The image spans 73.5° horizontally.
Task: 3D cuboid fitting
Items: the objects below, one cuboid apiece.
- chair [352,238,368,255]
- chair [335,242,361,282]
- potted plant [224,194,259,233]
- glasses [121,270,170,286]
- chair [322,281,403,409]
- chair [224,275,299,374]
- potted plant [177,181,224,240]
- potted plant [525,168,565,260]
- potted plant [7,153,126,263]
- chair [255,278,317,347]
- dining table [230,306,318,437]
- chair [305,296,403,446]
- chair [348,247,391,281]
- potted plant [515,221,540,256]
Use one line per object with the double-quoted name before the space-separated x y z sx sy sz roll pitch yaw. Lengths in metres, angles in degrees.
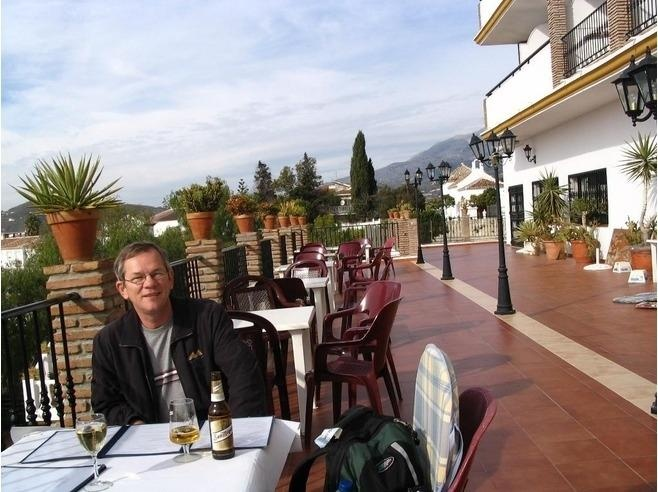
"chair" 0.913 -0.007 12.760 0.481 0.627 0.460 -2 -6 7
"chair" 0.502 0.426 12.064 0.829 1.340 0.889 0 3 1
"potted plant" -2.110 -0.800 10.832 0.698 0.963 0.429 -7 2 -15
"glasses" -1.150 0.213 2.789 0.135 0.049 0.134 -10 -11 -43
"chair" 0.375 0.977 5.209 1.135 1.878 1.175 0 1 -4
"chair" -0.965 0.942 5.748 0.828 1.376 0.957 -1 -2 -2
"potted plant" -2.335 -0.721 8.153 0.748 1.232 2.004 -7 0 -17
"potted plant" 8.054 -1.231 16.119 1.100 2.246 3.285 -6 1 23
"potted plant" -2.365 -0.388 4.296 0.889 1.095 0.927 -2 -6 -14
"chair" -0.451 0.796 5.896 0.593 1.212 0.809 0 6 11
"dining table" -0.289 1.214 4.472 1.028 1.203 0.915 -1 15 12
"chair" 0.262 1.061 4.492 1.019 1.730 1.161 0 -1 7
"chair" 1.001 0.577 10.547 0.862 1.383 0.962 1 2 8
"potted plant" 7.649 -0.284 16.922 0.855 1.095 0.884 -25 4 22
